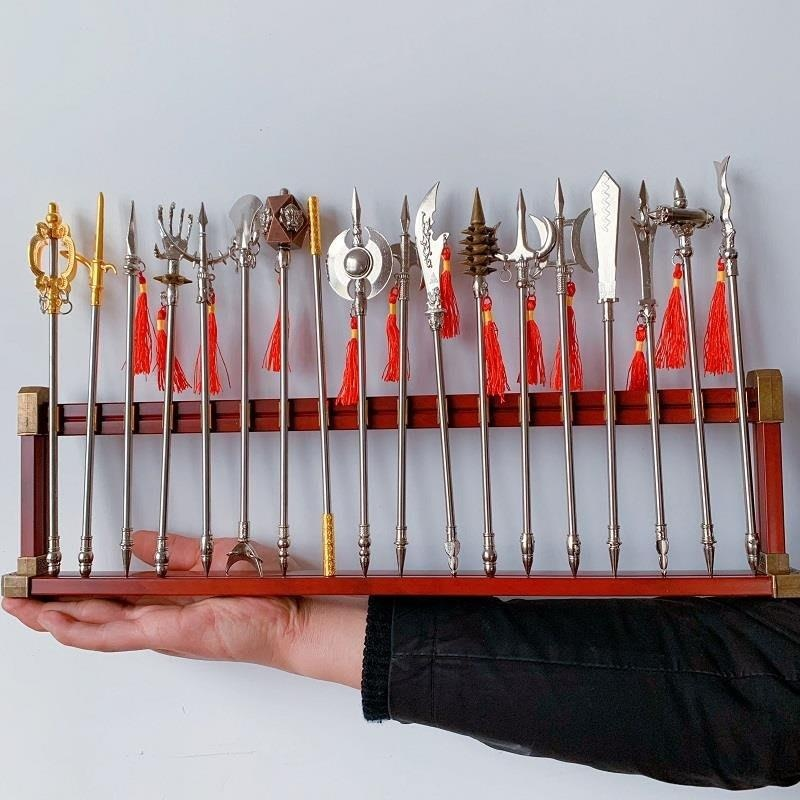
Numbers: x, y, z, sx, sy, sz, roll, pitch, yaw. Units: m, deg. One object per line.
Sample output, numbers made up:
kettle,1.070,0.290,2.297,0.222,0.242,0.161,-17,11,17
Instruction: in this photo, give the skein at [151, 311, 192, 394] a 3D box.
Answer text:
skein,-0.358,-0.090,2.463,0.045,0.163,0.057,-6,7,-2

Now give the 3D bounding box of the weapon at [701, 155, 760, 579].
weapon,0.496,-0.040,2.380,0.064,0.657,0.045,-4,-6,9

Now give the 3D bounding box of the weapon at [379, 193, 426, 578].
weapon,0.004,-0.028,2.398,0.054,0.439,0.149,-1,-1,0

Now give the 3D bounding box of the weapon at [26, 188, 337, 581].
weapon,-0.325,-0.007,2.444,0.512,0.695,0.055,0,-8,-10

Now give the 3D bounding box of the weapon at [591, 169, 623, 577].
weapon,0.318,-0.042,2.384,0.045,0.507,0.148,-1,-1,7

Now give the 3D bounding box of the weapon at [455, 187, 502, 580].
weapon,0.126,-0.031,2.392,0.055,0.465,0.157,-1,-1,3

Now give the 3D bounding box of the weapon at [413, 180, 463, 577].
weapon,0.061,-0.018,2.394,0.039,0.594,0.121,-10,10,-37
